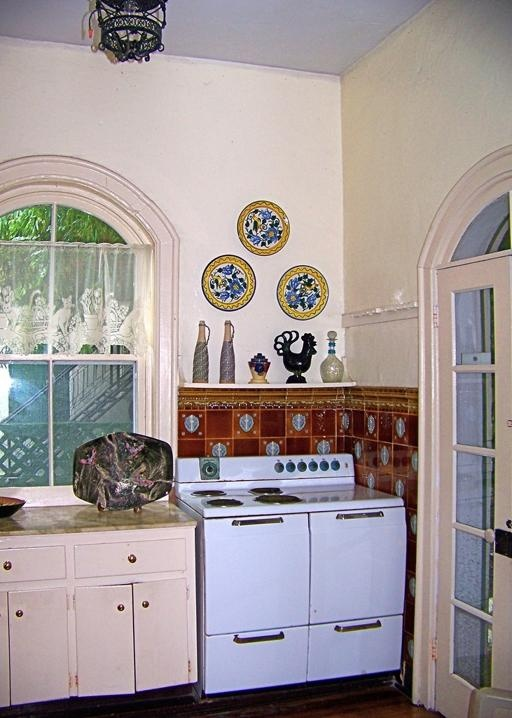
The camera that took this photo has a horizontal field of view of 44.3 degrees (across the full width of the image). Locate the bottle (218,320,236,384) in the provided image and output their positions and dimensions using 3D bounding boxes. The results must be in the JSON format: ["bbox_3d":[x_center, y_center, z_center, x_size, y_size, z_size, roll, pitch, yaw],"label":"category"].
[{"bbox_3d":[-0.150,-0.038,3.179,0.079,0.305,0.200,-2,0,-1],"label":"bottle"}]

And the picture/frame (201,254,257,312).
[{"bbox_3d":[-0.153,-0.372,3.276,0.300,0.321,0.050,11,-4,-32],"label":"picture/frame"}]

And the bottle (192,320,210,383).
[{"bbox_3d":[-0.281,-0.037,3.122,0.075,0.300,0.151,-2,0,-2],"label":"bottle"}]

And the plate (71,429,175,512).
[{"bbox_3d":[-0.610,0.495,2.819,0.406,0.355,0.108,3,-2,-18],"label":"plate"}]

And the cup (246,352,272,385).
[{"bbox_3d":[0.010,0.043,3.265,0.124,0.192,0.155,-1,2,-35],"label":"cup"}]

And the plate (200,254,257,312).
[{"bbox_3d":[-0.128,-0.389,3.247,0.258,0.285,0.046,-1,4,-24],"label":"plate"}]

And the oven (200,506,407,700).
[{"bbox_3d":[0.167,1.011,2.839,0.930,0.801,0.553,1,-1,-20],"label":"oven"}]

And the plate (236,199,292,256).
[{"bbox_3d":[0.044,-0.694,3.341,0.263,0.287,0.054,3,5,-24],"label":"plate"}]

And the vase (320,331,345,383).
[{"bbox_3d":[0.406,-0.009,3.364,0.124,0.251,0.184,-2,0,12],"label":"vase"}]
